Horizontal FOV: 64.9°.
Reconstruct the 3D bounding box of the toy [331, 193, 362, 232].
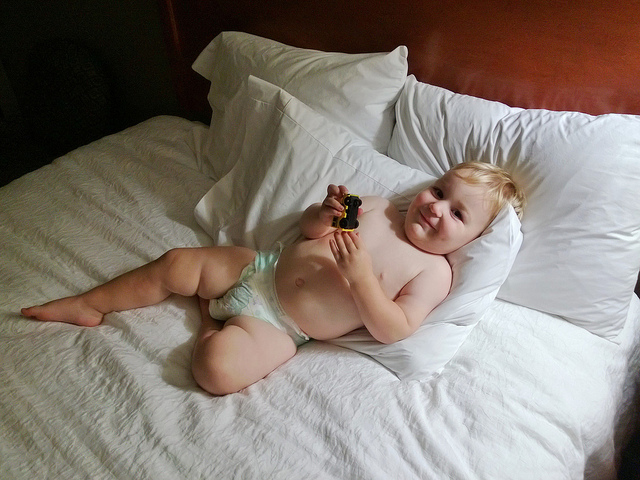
[{"bbox_3d":[0.083,-0.082,1.521,0.028,0.120,0.078,13,9,42],"label":"toy"}]
